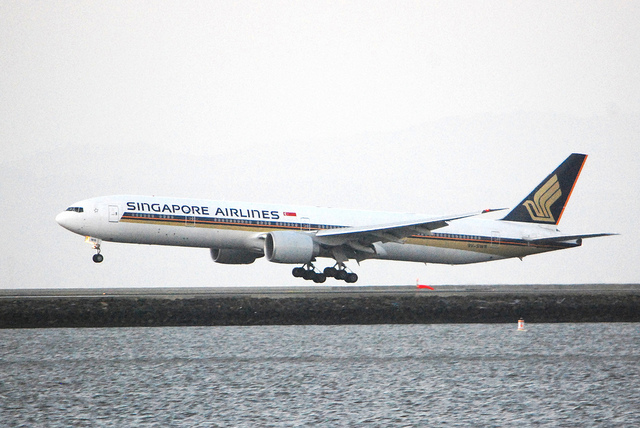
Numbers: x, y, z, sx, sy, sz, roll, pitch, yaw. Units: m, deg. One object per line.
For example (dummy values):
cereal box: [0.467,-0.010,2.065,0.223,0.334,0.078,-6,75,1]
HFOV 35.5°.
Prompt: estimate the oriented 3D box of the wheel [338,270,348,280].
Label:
wheel: [0.959,2.522,41.553,0.423,0.383,0.316,-6,12,-29]

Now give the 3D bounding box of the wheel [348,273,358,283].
wheel: [1.400,2.641,41.727,0.234,0.420,0.603,5,12,24]
